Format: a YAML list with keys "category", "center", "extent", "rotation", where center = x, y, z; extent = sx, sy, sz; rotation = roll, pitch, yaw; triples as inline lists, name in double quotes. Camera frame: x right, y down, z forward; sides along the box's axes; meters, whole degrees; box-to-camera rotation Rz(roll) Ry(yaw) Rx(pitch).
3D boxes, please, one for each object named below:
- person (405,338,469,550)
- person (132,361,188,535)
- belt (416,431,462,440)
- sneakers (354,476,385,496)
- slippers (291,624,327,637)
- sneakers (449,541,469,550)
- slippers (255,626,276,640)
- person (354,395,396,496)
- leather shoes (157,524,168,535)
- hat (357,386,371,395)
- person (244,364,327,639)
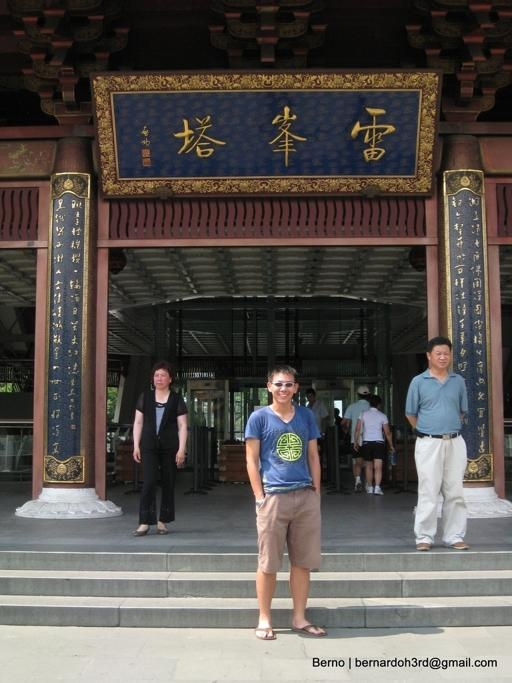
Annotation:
- category: "person"
  center: [1.273, 0.695, 5.729]
  extent: [0.423, 1.464, 0.590]
  rotation: [-2, -6, 12]
- category: "person"
  center: [-0.747, 0.833, 6.249]
  extent: [0.396, 1.277, 0.365]
  rotation: [0, -6, -4]
- category: "belt"
  center: [1.279, 0.664, 5.741]
  extent: [0.287, 0.061, 0.177]
  rotation: [-2, -6, 14]
- category: "sneakers"
  center: [1.338, 1.793, 9.878]
  extent: [0.151, 0.163, 0.414]
  rotation: [1, -14, -7]
- category: "slippers"
  center: [0.290, 1.589, 4.484]
  extent: [0.171, 0.039, 0.068]
  rotation: [-5, -5, 35]
- category: "sneakers"
  center: [1.357, 1.384, 5.473]
  extent: [0.132, 0.041, 0.168]
  rotation: [-2, -6, 12]
- category: "slippers"
  center: [0.045, 1.602, 4.436]
  extent: [0.114, 0.068, 0.092]
  rotation: [-1, -6, 5]
- category: "person"
  center: [1.425, 1.250, 9.917]
  extent: [0.473, 1.177, 1.061]
  rotation: [-2, -6, 6]
- category: "leather shoes"
  center: [-0.714, 1.430, 6.186]
  extent: [0.087, 0.070, 0.133]
  rotation: [0, -6, -9]
- category: "hat"
  center: [1.486, 0.680, 11.196]
  extent: [0.253, 0.105, 0.327]
  rotation: [-1, 2, 2]
- category: "person"
  center: [0.156, 0.893, 4.502]
  extent: [0.411, 1.487, 0.356]
  rotation: [-1, -6, 3]
